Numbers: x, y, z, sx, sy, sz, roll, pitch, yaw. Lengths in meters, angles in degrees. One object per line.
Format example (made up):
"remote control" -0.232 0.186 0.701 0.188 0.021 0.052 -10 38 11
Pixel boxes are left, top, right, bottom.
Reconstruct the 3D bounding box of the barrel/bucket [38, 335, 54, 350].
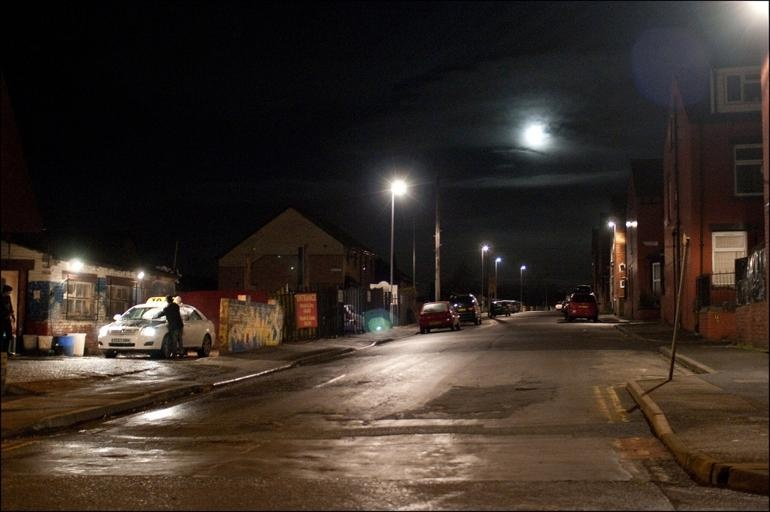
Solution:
"barrel/bucket" -12.913 3.316 25.473 0.493 0.567 0.260 -1 -6 -19

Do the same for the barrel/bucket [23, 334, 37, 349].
"barrel/bucket" -13.434 3.239 25.309 0.539 0.479 0.447 3 -10 -21

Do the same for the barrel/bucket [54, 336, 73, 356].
"barrel/bucket" -12.348 3.458 25.743 0.659 0.766 0.693 1 -12 0

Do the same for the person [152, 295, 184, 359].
"person" -7.449 2.505 23.644 0.671 2.110 1.568 -1 -7 -18
